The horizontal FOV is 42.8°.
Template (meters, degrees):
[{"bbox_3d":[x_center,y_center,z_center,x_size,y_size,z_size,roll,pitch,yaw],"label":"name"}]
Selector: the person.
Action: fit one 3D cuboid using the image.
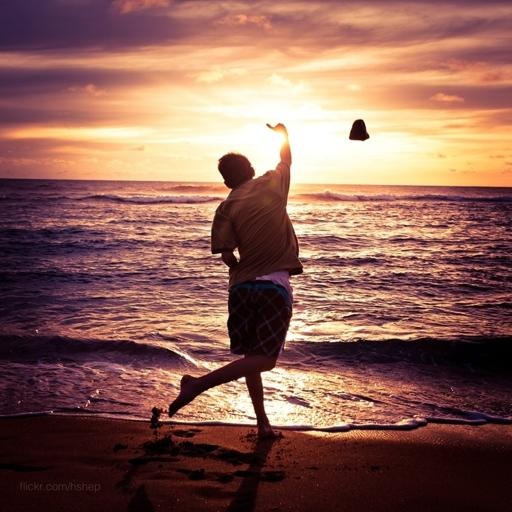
[{"bbox_3d":[-0.073,0.231,4.642,0.791,2.369,0.837,7,11,0],"label":"person"}]
